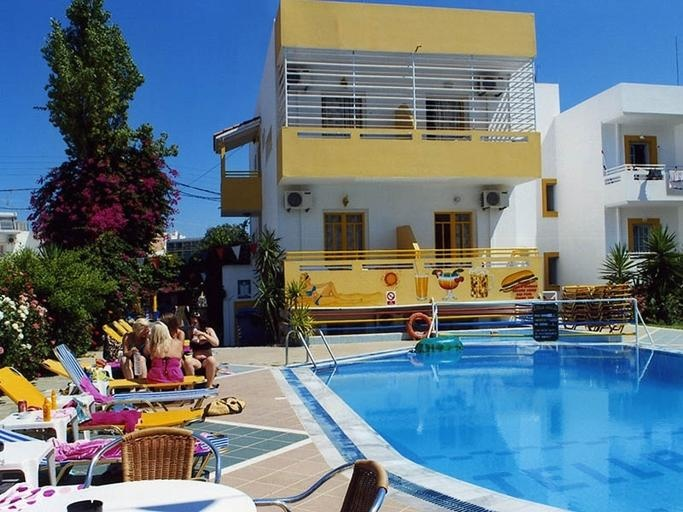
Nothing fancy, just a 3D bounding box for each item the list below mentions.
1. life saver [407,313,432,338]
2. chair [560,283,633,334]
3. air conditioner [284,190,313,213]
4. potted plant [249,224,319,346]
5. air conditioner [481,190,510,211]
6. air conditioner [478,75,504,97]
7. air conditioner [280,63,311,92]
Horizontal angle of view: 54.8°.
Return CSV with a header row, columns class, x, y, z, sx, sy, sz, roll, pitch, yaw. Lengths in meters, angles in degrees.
class,x,y,z,sx,sy,sz,roll,pitch,yaw
life saver,2.497,2.187,20.741,0.736,0.842,0.257,16,-11,-38
chair,7.778,1.607,20.043,2.059,1.429,2.890,-3,-1,21
air conditioner,-1.425,-1.803,22.142,0.847,0.758,0.562,1,2,-1
potted plant,-2.356,1.062,21.540,1.338,3.879,1.576,8,15,30
air conditioner,5.393,-1.979,23.082,0.892,0.742,0.558,1,-5,-8
air conditioner,5.197,-5.929,22.998,0.889,0.732,1.916,-3,-1,15
air conditioner,-1.513,-5.776,21.727,0.854,0.995,0.986,-1,18,-10
